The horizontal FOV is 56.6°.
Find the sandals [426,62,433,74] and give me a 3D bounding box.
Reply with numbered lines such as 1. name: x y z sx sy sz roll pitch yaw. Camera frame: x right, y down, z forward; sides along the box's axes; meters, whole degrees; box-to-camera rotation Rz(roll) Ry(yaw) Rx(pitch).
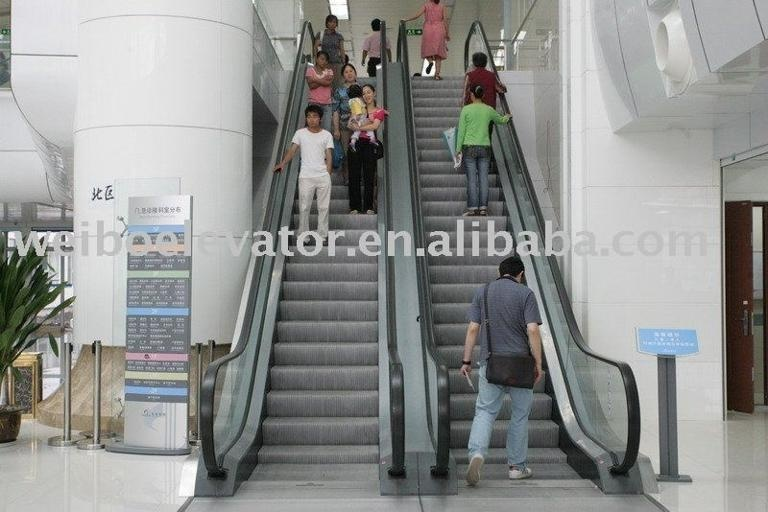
1. sandals: 0.985 -4.065 15.447 0.089 0.119 0.295 18 -44 9

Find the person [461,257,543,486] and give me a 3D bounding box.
1. person: 1.244 1.192 7.512 0.821 2.364 0.504 0 -3 6

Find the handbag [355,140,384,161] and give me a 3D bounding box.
1. handbag: -0.227 -1.599 10.822 0.364 0.382 0.235 -2 0 1

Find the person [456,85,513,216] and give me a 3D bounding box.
1. person: 1.419 -1.570 10.635 0.676 1.967 0.350 1 -4 -20

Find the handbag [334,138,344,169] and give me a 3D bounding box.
1. handbag: -0.731 -1.650 11.467 0.140 0.399 0.115 0 -3 4

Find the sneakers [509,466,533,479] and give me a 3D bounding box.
1. sneakers: 1.446 2.279 7.515 0.260 0.122 0.102 -2 3 -40

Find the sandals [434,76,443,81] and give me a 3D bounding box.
1. sandals: 1.036 -3.415 13.724 0.149 0.078 0.208 1 2 5

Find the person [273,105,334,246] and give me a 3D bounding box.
1. person: -1.092 -1.193 10.140 0.690 1.980 0.449 0 -3 -6

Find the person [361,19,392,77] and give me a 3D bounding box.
1. person: -0.123 -3.999 14.630 0.621 1.559 0.399 -8 26 -16

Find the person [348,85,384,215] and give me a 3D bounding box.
1. person: -0.267 -1.611 10.847 0.557 1.984 0.409 0 -3 0
